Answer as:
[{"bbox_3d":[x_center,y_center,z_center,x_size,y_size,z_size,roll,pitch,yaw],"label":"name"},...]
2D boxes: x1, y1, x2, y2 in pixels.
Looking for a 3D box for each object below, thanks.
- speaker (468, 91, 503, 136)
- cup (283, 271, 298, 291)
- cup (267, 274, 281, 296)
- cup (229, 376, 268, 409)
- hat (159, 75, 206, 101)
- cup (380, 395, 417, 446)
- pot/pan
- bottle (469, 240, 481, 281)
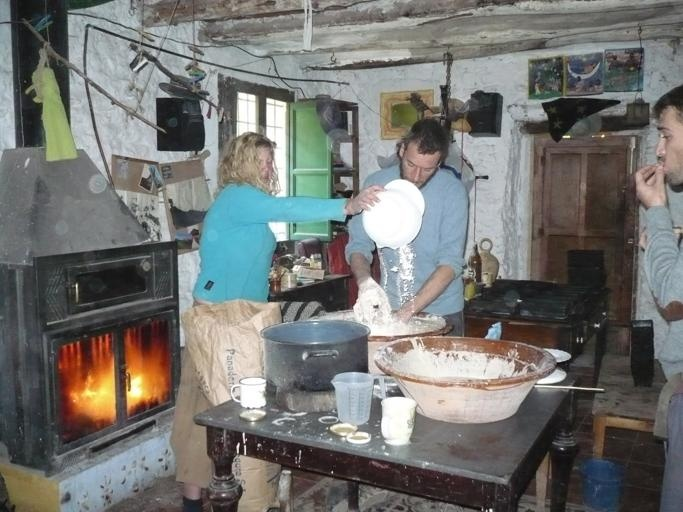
[{"bbox_3d":[1.454,-1.446,7.024,0.350,0.450,0.283,0,5,12],"label":"speaker"},{"bbox_3d":[-0.430,0.221,5.851,0.130,0.139,0.134,0,0,0],"label":"cup"},{"bbox_3d":[-0.550,0.233,5.690,0.136,0.182,0.128,0,-12,0],"label":"cup"},{"bbox_3d":[-0.413,0.604,3.087,0.158,0.111,0.117,-3,7,-19],"label":"cup"},{"bbox_3d":[-1.196,-1.272,5.268,0.345,0.141,0.243,-2,5,-12],"label":"hat"},{"bbox_3d":[0.232,0.665,2.835,0.138,0.182,0.150,-1,5,0],"label":"cup"},{"bbox_3d":[-0.120,0.468,3.030,0.397,0.258,0.438,-1,2,3],"label":"pot/pan"},{"bbox_3d":[1.185,0.063,6.121,0.098,0.301,0.439,0,5,10],"label":"bottle"}]
